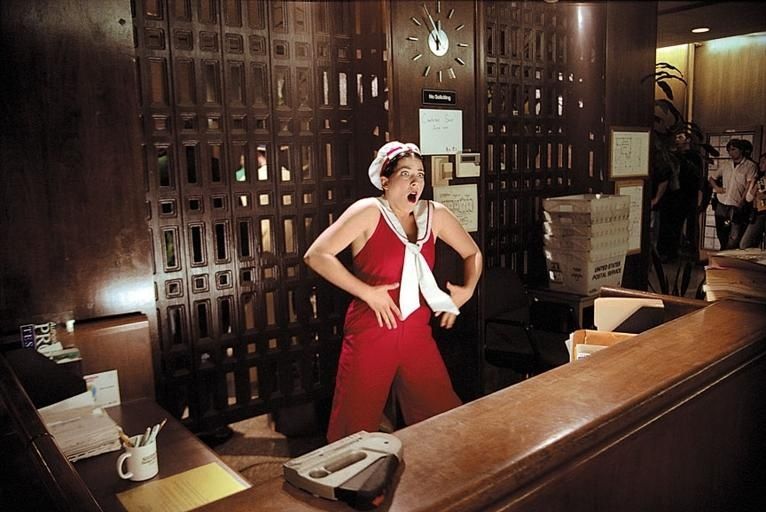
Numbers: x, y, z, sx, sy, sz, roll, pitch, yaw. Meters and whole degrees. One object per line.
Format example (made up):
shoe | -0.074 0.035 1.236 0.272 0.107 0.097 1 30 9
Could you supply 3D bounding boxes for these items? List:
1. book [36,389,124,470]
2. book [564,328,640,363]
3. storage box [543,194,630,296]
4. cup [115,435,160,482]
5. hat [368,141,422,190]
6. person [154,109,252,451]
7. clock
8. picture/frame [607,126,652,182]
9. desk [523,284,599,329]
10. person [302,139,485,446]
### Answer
book | -1.334 0.746 2.329 0.237 0.170 0.402 -16 18 -39
book | 0.887 0.351 2.235 0.263 0.163 0.188 -2 9 -1
storage box | 1.708 -0.117 4.747 0.860 0.828 0.815 -6 6 -44
cup | -0.963 0.804 2.171 0.113 0.140 0.199 6 13 30
hat | 0.037 -0.554 3.049 0.094 0.292 0.295 29 14 40
person | -1.149 0.093 3.416 0.765 2.068 0.372 -12 15 -25
clock | 0.353 -1.465 3.584 0.559 0.560 0.063 -10 10 -32
picture/frame | 2.378 -1.002 5.106 0.713 0.505 0.139 -18 19 -42
desk | 1.450 0.329 4.384 0.353 0.453 0.464 -1 1 -42
person | 0.076 0.180 3.014 0.994 1.600 0.485 -7 14 -10
